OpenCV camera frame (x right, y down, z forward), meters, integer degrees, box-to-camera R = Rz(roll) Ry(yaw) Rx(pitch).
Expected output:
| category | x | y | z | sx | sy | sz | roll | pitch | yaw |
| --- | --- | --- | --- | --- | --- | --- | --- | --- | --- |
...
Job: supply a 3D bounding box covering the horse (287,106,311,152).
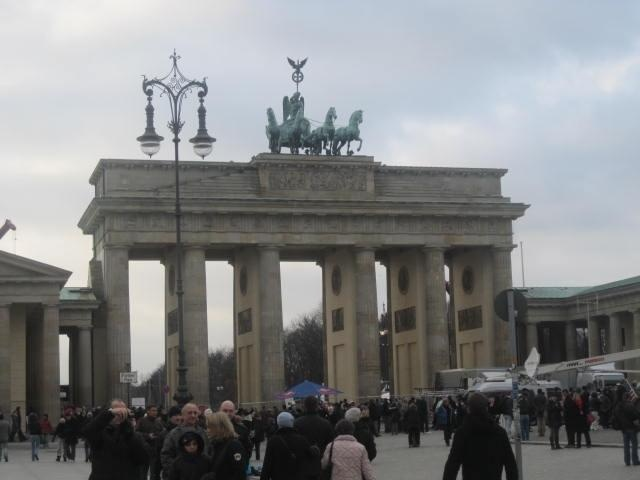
| category | x | y | z | sx | sy | sz | roll | pitch | yaw |
| --- | --- | --- | --- | --- | --- | --- | --- | --- | --- |
| horse | -1.295 | -7.037 | 88.168 | 1.278 | 2.971 | 1.030 | -2 | -9 | 0 |
